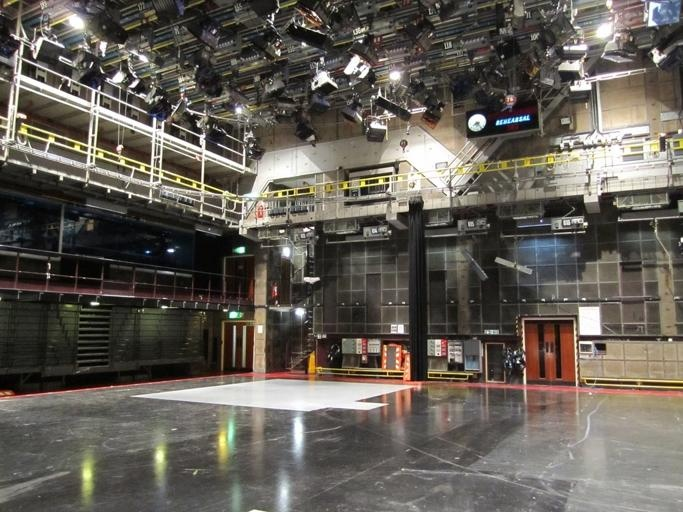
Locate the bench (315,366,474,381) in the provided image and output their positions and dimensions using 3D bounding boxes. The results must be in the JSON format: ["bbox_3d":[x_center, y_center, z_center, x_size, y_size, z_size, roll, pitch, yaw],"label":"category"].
[{"bbox_3d":[2.707,6.401,29.513,8.793,0.628,0.691,-5,-11,27],"label":"bench"}]
